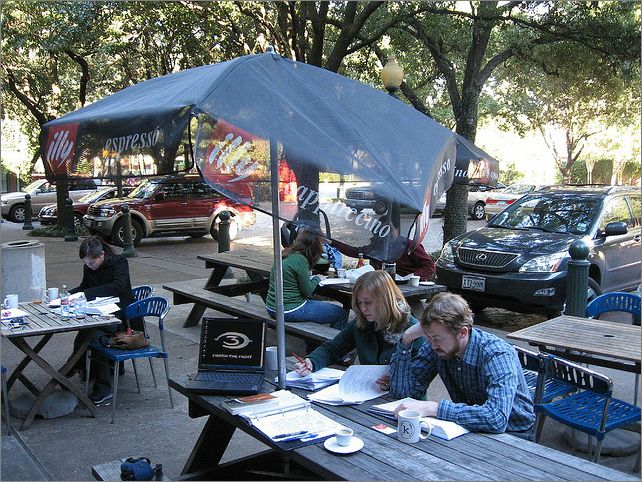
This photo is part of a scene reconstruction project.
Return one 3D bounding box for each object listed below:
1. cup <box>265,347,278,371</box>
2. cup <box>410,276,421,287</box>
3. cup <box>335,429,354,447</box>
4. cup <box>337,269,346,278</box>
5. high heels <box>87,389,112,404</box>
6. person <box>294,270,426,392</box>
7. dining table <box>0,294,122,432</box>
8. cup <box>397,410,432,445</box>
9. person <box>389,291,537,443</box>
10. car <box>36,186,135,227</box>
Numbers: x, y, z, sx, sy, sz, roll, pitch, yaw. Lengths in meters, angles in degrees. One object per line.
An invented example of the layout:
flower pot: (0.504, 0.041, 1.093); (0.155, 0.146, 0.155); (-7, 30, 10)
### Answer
cup: (-0.357, 0.858, 3.783); (0.145, 0.150, 0.154); (0, 3, 0)
cup: (1.194, 0.514, 6.590); (0.118, 0.094, 0.127); (0, -6, 0)
cup: (0.127, 1.043, 2.796); (0.081, 0.053, 0.080); (-3, 4, 0)
cup: (0.286, 0.452, 7.189); (0.116, 0.107, 0.107); (-3, 7, 0)
high heels: (-2.422, 1.688, 5.699); (0.120, 0.094, 0.240); (5, 10, 21)
person: (0.197, 0.560, 4.222); (0.917, 1.089, 0.790); (-6, 12, -34)
dining table: (-2.859, 1.153, 5.503); (1.217, 0.947, 1.418); (1, 2, -31)
cup: (0.493, 1.021, 2.881); (0.216, 0.133, 0.124); (1, 2, 25)
person: (0.927, 0.780, 3.577); (1.063, 0.995, 0.839); (1, -7, -27)
car: (-9.091, -1.338, 19.667); (4.195, 1.417, 1.930); (-2, 5, -22)
